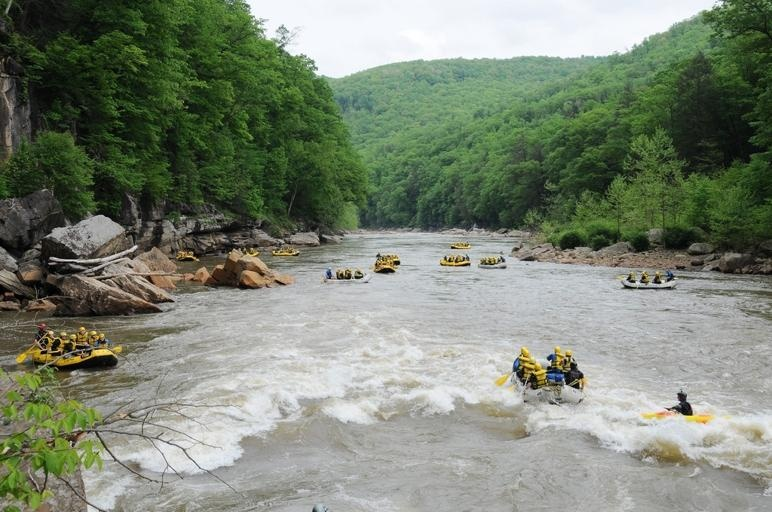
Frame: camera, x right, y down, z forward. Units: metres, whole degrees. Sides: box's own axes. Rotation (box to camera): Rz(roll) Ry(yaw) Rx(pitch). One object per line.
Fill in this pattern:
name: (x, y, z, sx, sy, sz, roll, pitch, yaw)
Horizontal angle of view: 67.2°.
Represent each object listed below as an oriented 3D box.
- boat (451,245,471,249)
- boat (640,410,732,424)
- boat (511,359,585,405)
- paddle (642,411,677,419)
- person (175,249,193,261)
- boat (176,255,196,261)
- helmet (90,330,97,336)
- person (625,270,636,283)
boat: (11.299, -1.377, 87.734, 1.880, 0.440, 1.028, 1, 2, 28)
boat: (11.975, 6.339, 22.901, 3.671, 0.494, 0.975, -1, -6, 9)
boat: (6.779, 5.311, 25.300, 2.013, 0.807, 2.283, 4, 8, -4)
paddle: (10.938, 6.334, 23.128, 0.780, 0.171, 0.148, -12, 5, -1)
person: (-20.812, -0.083, 59.766, 1.516, 0.516, 1.206, 0, 10, 6)
boat: (-20.622, 0.224, 59.782, 1.769, 0.587, 0.764, -3, 14, -17)
helmet: (-14.185, 3.739, 28.130, 0.348, 0.211, 0.460, -10, -4, -33)
person: (20.304, 1.666, 47.430, 1.130, 0.987, 1.036, -2, 5, 2)
